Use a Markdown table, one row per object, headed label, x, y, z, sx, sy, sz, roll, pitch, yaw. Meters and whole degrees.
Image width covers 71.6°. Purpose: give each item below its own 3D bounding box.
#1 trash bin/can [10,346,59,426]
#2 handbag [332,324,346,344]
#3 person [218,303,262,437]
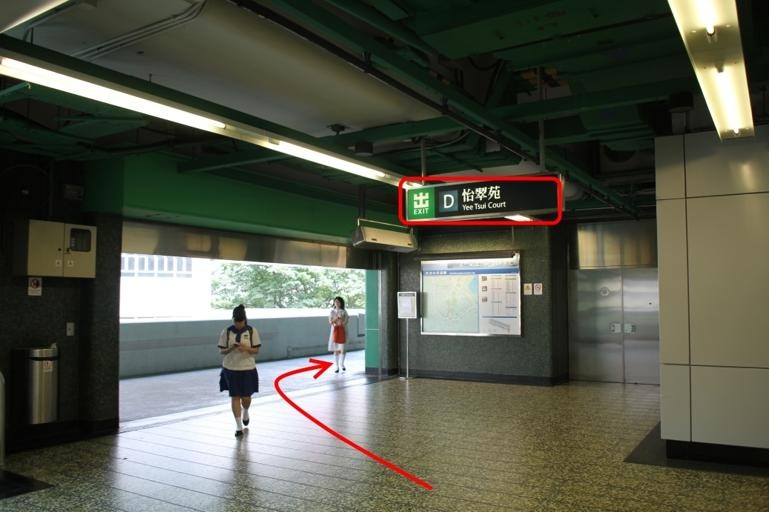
| label | x | y | z | sx | sy | sz | roll | pitch | yaw |
| --- | --- | --- | --- | --- | --- | --- | --- | --- | --- |
| trash bin/can | -4.931 | 1.837 | 7.501 | 0.561 | 1.133 | 0.250 | 1 | -4 | -32 |
| handbag | -1.205 | 2.039 | 13.902 | 0.312 | 0.475 | 0.148 | 1 | -3 | -17 |
| person | -2.246 | 1.692 | 8.202 | 0.573 | 1.904 | 0.824 | 0 | -3 | -14 |
